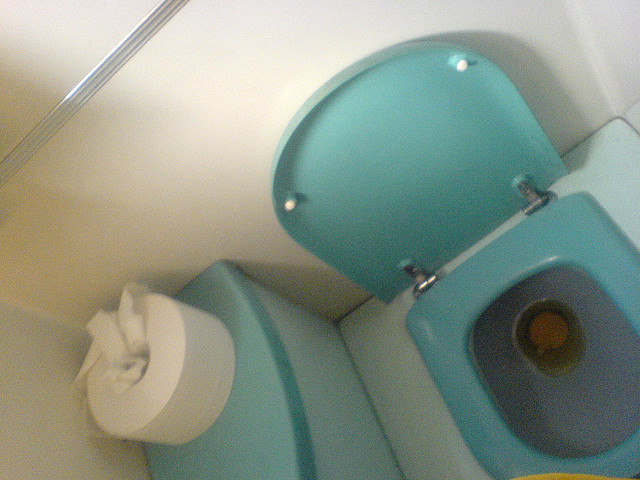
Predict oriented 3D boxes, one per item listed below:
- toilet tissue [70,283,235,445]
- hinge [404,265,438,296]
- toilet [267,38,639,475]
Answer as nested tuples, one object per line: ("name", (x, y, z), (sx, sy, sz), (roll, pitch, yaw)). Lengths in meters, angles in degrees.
("toilet tissue", (-0.436, 0.426, 1.378), (0.216, 0.298, 0.304), (58, 38, -27))
("hinge", (0.312, 0.133, 1.655), (0.041, 0.072, 0.114), (55, -10, -20))
("toilet", (0.381, 0.034, 1.412), (0.789, 0.428, 0.795), (57, 18, 23))
